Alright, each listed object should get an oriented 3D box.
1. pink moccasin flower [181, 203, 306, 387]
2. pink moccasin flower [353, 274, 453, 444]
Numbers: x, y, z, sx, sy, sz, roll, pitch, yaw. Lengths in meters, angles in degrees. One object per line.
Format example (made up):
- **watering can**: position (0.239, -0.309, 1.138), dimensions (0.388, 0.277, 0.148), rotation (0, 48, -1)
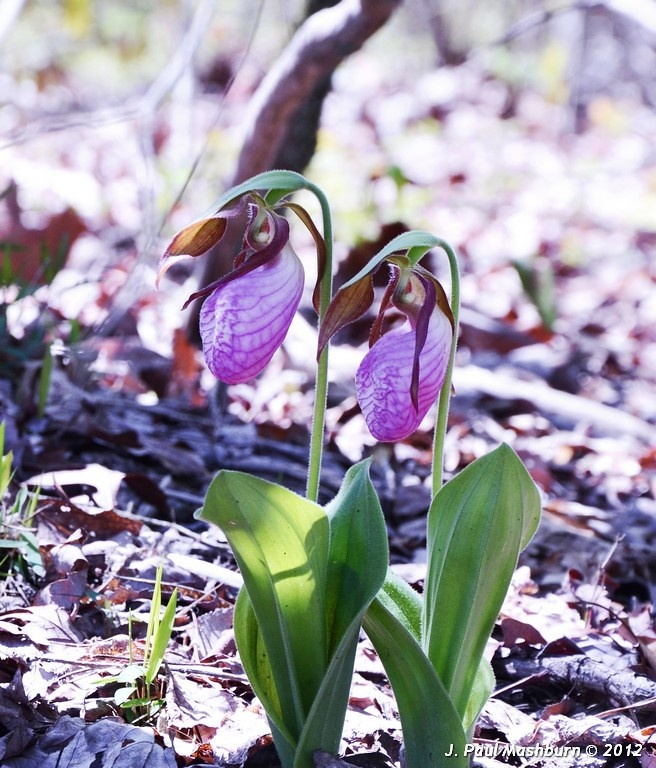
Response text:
- **pink moccasin flower**: position (-0.164, -0.197, 2.098), dimensions (0.252, 0.354, 0.204), rotation (8, -10, 8)
- **pink moccasin flower**: position (0.182, -0.079, 2.209), dimensions (0.243, 0.334, 0.195), rotation (14, -8, 24)
